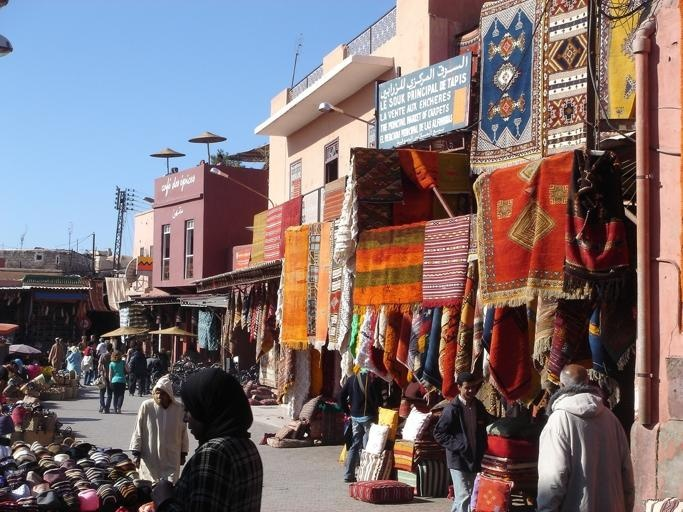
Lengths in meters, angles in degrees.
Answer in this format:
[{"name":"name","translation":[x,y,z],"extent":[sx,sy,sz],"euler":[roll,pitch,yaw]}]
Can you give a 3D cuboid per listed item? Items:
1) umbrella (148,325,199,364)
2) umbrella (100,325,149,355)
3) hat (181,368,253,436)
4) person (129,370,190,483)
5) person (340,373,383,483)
[{"name":"umbrella","translation":[-5.524,3.017,29.795],"extent":[1.413,1.359,1.438],"euler":[4,-6,-24]},{"name":"umbrella","translation":[-7.398,2.978,30.733],"extent":[1.407,1.025,1.487],"euler":[-2,-5,12]},{"name":"hat","translation":[-0.849,1.023,6.457],"extent":[0.436,0.532,0.506],"euler":[-14,-7,20]},{"name":"person","translation":[-2.110,2.192,10.456],"extent":[0.653,1.675,0.462],"euler":[1,25,-11]},{"name":"person","translation":[0.192,2.508,13.023],"extent":[0.542,1.592,0.694],"euler":[8,-12,-41]}]
